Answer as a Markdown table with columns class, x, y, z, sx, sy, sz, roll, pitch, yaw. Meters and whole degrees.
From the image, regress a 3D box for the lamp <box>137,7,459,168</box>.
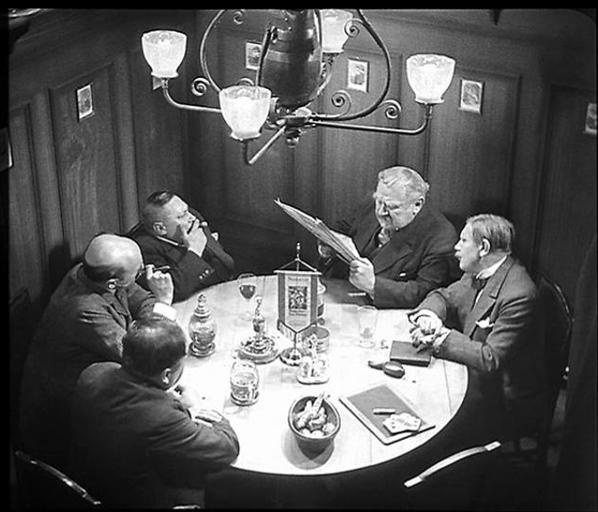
| class | x | y | z | sx | sy | sz | roll | pitch | yaw |
| --- | --- | --- | --- | --- | --- | --- | --- | --- | --- |
| lamp | 0.034 | -0.784 | 2.390 | 0.904 | 0.473 | 0.938 | 2 | 26 | -1 |

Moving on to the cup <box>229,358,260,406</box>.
| class | x | y | z | sx | sy | sz | roll | pitch | yaw |
| --- | --- | --- | --- | --- | --- | --- | --- | --- | --- |
| cup | -0.213 | 0.503 | 2.149 | 0.098 | 0.141 | 0.155 | -1 | 12 | -12 |

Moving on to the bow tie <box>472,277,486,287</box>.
| class | x | y | z | sx | sy | sz | roll | pitch | yaw |
| --- | --- | --- | --- | --- | --- | --- | --- | --- | --- |
| bow tie | 0.899 | 0.132 | 2.661 | 0.040 | 0.022 | 0.057 | 4 | 10 | -2 |

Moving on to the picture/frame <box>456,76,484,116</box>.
| class | x | y | z | sx | sy | sz | roll | pitch | yaw |
| --- | --- | --- | --- | --- | --- | --- | --- | --- | --- |
| picture/frame | 0.853 | -0.805 | 2.634 | 0.144 | 0.196 | 0.021 | 17 | 34 | 28 |

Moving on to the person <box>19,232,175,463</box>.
| class | x | y | z | sx | sy | sz | roll | pitch | yaw |
| --- | --- | --- | --- | --- | --- | --- | --- | --- | --- |
| person | -0.907 | 0.393 | 2.344 | 0.559 | 1.168 | 0.451 | 1 | 41 | -21 |

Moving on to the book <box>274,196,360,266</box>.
| class | x | y | z | sx | sy | sz | roll | pitch | yaw |
| --- | --- | --- | --- | --- | --- | --- | --- | --- | --- |
| book | 0.115 | -0.158 | 2.978 | 0.566 | 0.069 | 0.548 | 30 | 1 | 29 |
